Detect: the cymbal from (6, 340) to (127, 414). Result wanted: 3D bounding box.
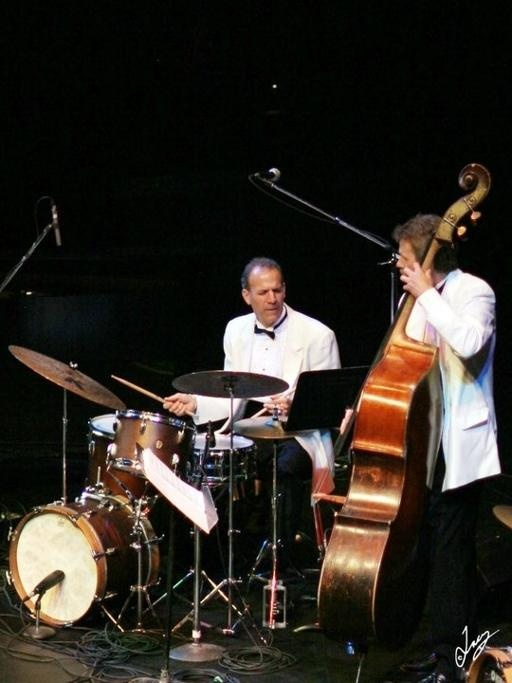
[{"bbox_3d":[-0.860,0.162,3.544,0.400,0.275,0.442,0,0,-36],"label":"cymbal"}]

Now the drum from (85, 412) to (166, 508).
[{"bbox_3d":[-0.690,0.493,3.656,0.406,0.361,0.389,10,9,17],"label":"drum"}]

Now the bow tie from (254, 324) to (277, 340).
[{"bbox_3d":[0.048,-0.048,4.083,0.082,0.032,0.085,18,7,38],"label":"bow tie"}]

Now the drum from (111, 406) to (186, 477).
[{"bbox_3d":[-0.457,0.409,3.396,0.325,0.195,0.307,7,-4,1],"label":"drum"}]

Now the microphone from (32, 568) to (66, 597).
[{"bbox_3d":[-0.845,0.994,3.333,0.058,0.059,0.210,-2,2,14],"label":"microphone"}]

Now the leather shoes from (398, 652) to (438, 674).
[{"bbox_3d":[0.566,1.152,2.883,0.126,0.036,0.146,-8,-17,-30],"label":"leather shoes"}]

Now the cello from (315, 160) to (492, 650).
[{"bbox_3d":[0.398,0.386,2.511,0.273,1.090,0.476,1,1,24],"label":"cello"}]

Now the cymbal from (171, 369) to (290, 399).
[{"bbox_3d":[-0.118,0.174,3.170,0.441,0.127,0.417,0,0,-16],"label":"cymbal"}]

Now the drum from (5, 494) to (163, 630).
[{"bbox_3d":[-0.763,0.898,3.617,0.666,0.506,0.542,-4,-6,32],"label":"drum"}]
